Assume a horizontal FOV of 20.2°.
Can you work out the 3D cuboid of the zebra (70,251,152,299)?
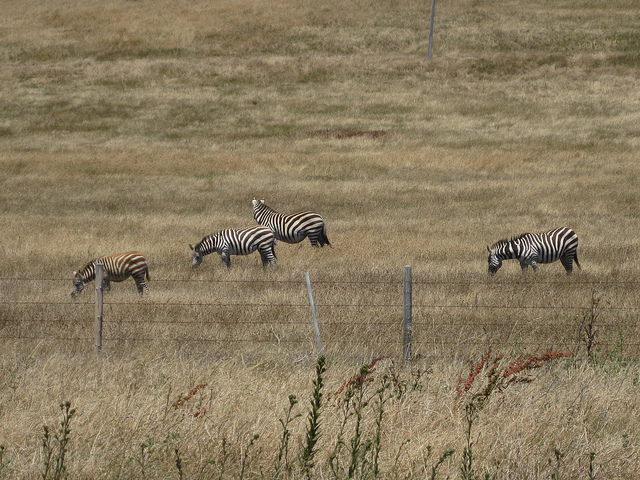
[{"bbox_3d":[-14.842,2.282,129.582,5.227,2.873,2.836,-7,16,-3],"label":"zebra"}]

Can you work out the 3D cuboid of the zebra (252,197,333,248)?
[{"bbox_3d":[-2.363,-1.265,137.656,6.563,4.734,1.999,3,7,13],"label":"zebra"}]

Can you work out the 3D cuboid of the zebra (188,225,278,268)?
[{"bbox_3d":[-6.391,0.427,134.445,6.404,3.830,2.082,-4,19,-7],"label":"zebra"}]

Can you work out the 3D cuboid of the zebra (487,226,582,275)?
[{"bbox_3d":[15.894,1.076,133.231,5.447,4.057,5.538,-5,9,-32],"label":"zebra"}]
